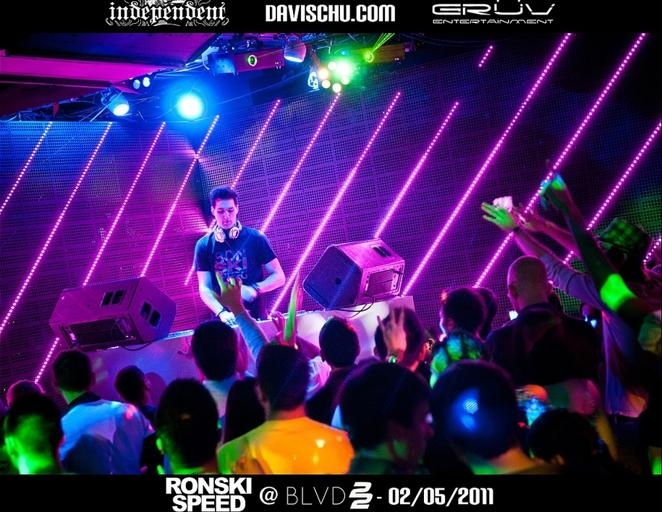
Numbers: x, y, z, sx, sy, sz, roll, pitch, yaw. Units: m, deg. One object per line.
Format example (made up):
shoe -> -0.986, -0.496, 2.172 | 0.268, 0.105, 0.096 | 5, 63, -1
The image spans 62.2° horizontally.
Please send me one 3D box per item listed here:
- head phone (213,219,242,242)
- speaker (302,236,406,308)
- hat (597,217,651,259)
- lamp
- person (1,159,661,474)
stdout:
head phone -> -0.832, -0.229, 4.631 | 0.303, 0.142, 0.366 | 1, 18, -1
speaker -> 0.169, 0.111, 3.946 | 0.489, 0.447, 0.677 | 15, 14, 41
hat -> 1.665, -0.103, 3.175 | 0.253, 0.211, 0.196 | 25, 4, 8
lamp -> -0.866, -1.745, 5.494 | 2.462, 0.806, 1.190 | 3, 21, 5
person -> 0.203, 0.651, 3.706 | 3.744, 1.472, 1.112 | 5, 21, 12
